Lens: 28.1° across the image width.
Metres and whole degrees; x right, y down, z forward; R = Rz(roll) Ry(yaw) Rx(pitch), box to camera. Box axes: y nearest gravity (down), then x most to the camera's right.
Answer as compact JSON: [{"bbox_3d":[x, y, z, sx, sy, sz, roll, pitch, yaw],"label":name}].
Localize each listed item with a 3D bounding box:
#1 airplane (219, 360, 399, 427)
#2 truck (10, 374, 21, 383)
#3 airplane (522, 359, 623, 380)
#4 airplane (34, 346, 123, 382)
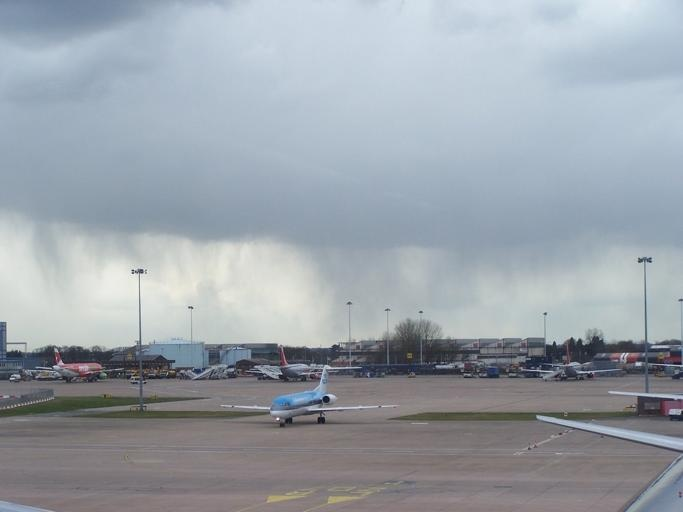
[{"bbox_3d":[-4.222,16.069,155.101,18.467,5.973,13.938,-4,-2,27],"label":"airplane"},{"bbox_3d":[-62.994,23.697,263.031,1.521,1.148,2.199,2,3,-3],"label":"truck"},{"bbox_3d":[44.261,21.627,264.135,19.992,3.910,48.013,-1,-1,11],"label":"airplane"},{"bbox_3d":[-59.756,24.696,308.899,23.450,9.129,26.880,-1,0,-7],"label":"airplane"}]
